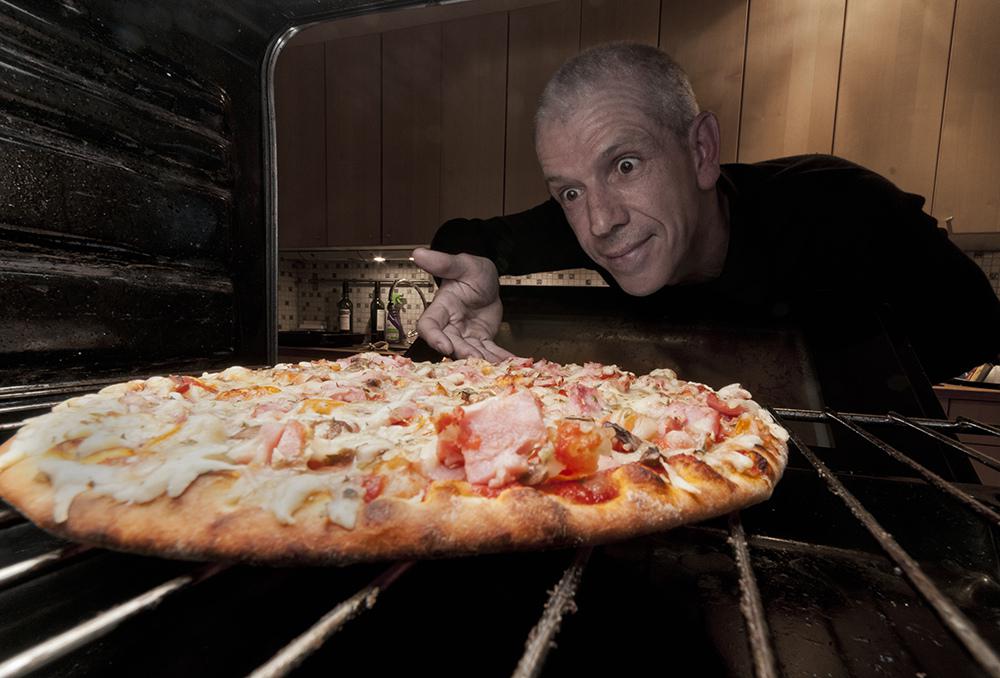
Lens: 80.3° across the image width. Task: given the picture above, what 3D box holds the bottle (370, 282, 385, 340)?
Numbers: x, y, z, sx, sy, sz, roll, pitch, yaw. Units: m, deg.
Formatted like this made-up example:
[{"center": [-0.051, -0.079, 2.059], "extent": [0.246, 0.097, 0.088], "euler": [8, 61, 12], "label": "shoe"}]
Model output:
[{"center": [-1.061, -0.252, 5.120], "extent": [0.127, 0.463, 0.322], "euler": [-1, 13, -12], "label": "bottle"}]

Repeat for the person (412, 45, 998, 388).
[{"center": [0.814, -0.515, 2.617], "extent": [2.328, 1.273, 1.004], "euler": [1, 13, -6], "label": "person"}]
